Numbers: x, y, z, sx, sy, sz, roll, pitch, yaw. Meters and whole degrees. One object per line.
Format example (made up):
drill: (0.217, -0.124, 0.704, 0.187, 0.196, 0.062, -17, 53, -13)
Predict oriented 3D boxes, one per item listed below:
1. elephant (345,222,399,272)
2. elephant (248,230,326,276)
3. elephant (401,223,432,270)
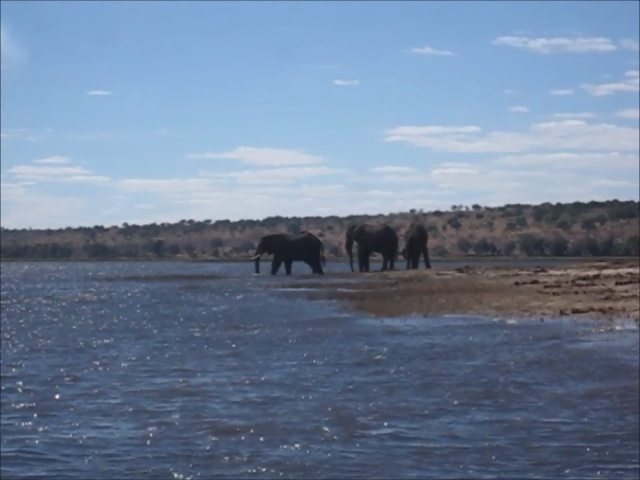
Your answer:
elephant: (2.637, 0.472, 65.538, 3.209, 2.495, 1.418, -1, 2, 32)
elephant: (-1.535, 0.738, 63.095, 3.656, 2.097, 1.097, -1, 3, 15)
elephant: (4.920, 0.160, 64.163, 1.524, 2.184, 2.999, 3, 6, 1)
